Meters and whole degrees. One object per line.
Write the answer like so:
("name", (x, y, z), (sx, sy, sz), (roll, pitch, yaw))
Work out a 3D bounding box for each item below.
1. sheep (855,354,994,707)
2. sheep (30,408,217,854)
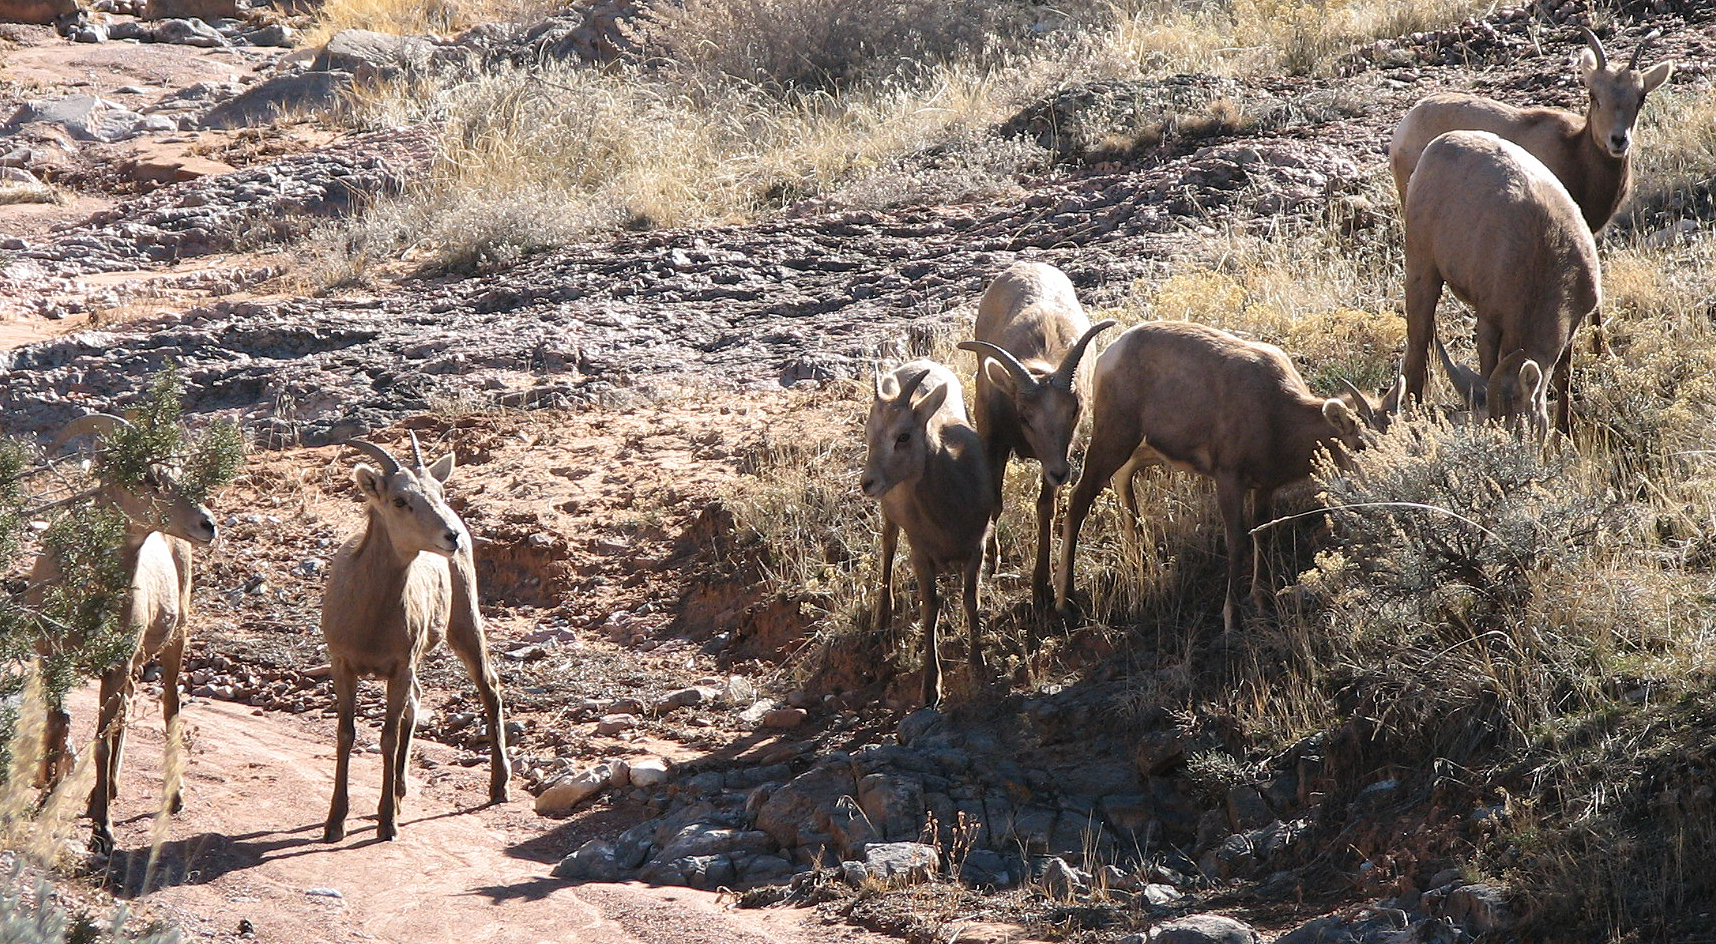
("sheep", (0.722, 0.586, 19.643), (1.268, 3.375, 1.515), (2, 4, 3))
("sheep", (-6.889, 1.487, 18.457), (1.592, 3.993, 1.731), (2, 4, -3))
